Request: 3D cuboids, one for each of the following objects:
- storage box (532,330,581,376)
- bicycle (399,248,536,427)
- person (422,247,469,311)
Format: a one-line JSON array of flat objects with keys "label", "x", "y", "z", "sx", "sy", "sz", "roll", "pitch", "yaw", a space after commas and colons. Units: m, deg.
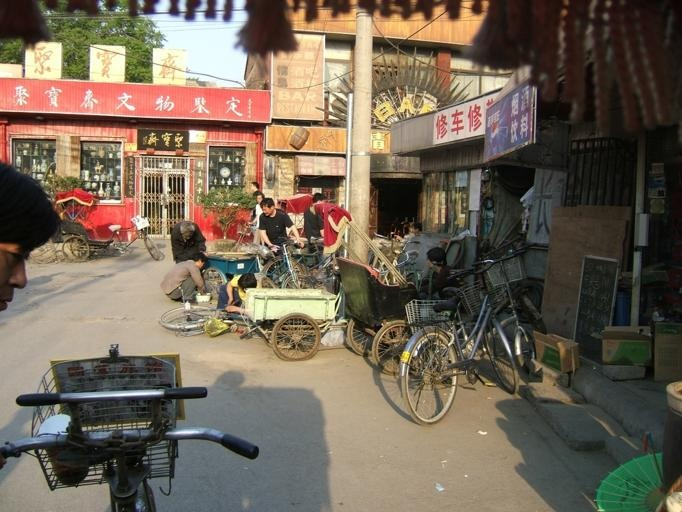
[{"label": "storage box", "x": 2.352, "y": 1.071, "z": 6.224, "sx": 0.214, "sy": 0.341, "sz": 0.573, "roll": -1, "pitch": 8, "yaw": -12}, {"label": "bicycle", "x": 1.351, "y": 0.804, "z": 5.907, "sx": 1.054, "sy": 1.345, "sz": 2.567, "roll": 5, "pitch": 9, "yaw": 29}, {"label": "person", "x": 1.202, "y": 0.218, "z": 6.743, "sx": 0.513, "sy": 1.066, "sz": 0.520, "roll": -5, "pitch": 1, "yaw": 18}]
